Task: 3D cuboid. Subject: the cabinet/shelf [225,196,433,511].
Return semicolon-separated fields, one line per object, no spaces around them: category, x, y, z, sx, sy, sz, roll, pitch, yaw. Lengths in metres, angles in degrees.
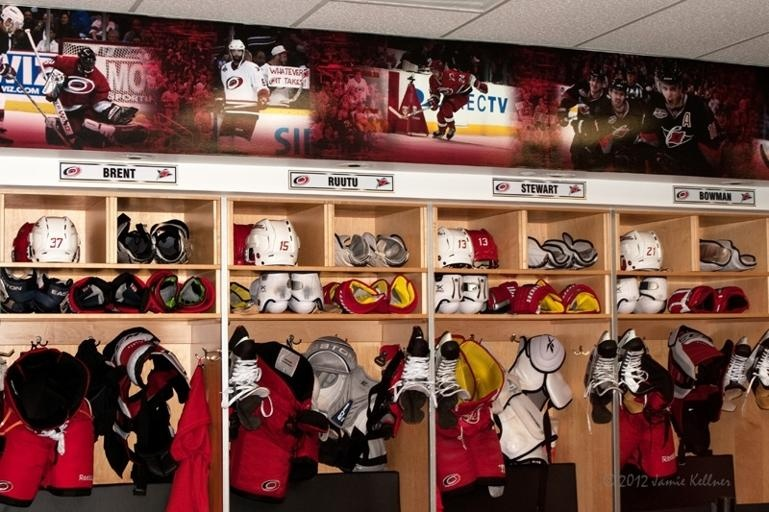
cabinet/shelf;-0.291;0.691;4.676;1.288;2.114;0.877;0;2;3

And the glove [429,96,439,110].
glove;0.331;-1.023;4.494;0.068;0.088;0.048;4;4;-7

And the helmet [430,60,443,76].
helmet;0.346;-1.259;4.495;0.085;0.095;0.109;-1;-7;2

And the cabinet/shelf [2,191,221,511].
cabinet/shelf;-1.706;0.608;4.336;1.402;1.996;0.749;0;2;-13

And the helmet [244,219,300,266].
helmet;-0.717;-0.086;4.296;0.274;0.269;0.328;2;0;-17

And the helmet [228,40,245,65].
helmet;-0.932;-1.273;4.206;0.107;0.138;0.147;0;3;-7

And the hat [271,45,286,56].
hat;-0.680;-1.304;4.270;0.076;0.054;0.057;-10;10;7

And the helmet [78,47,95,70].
helmet;-1.775;-1.167;4.018;0.097;0.123;0.127;2;-9;-17

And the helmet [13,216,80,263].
helmet;-2.107;-0.072;4.171;0.269;0.287;0.352;5;-14;-34

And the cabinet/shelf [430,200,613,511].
cabinet/shelf;1.129;0.770;5.034;1.109;2.224;0.866;0;2;6

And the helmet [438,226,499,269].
helmet;0.587;-0.046;4.687;0.390;0.282;0.277;0;-8;-9

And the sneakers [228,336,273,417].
sneakers;-0.853;0.757;4.213;0.204;0.569;0.243;3;0;-29

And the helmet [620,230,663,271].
helmet;1.918;-0.035;5.007;0.263;0.279;0.330;3;5;-1

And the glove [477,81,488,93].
glove;0.665;-1.142;4.565;0.095;0.048;0.044;21;3;-9
